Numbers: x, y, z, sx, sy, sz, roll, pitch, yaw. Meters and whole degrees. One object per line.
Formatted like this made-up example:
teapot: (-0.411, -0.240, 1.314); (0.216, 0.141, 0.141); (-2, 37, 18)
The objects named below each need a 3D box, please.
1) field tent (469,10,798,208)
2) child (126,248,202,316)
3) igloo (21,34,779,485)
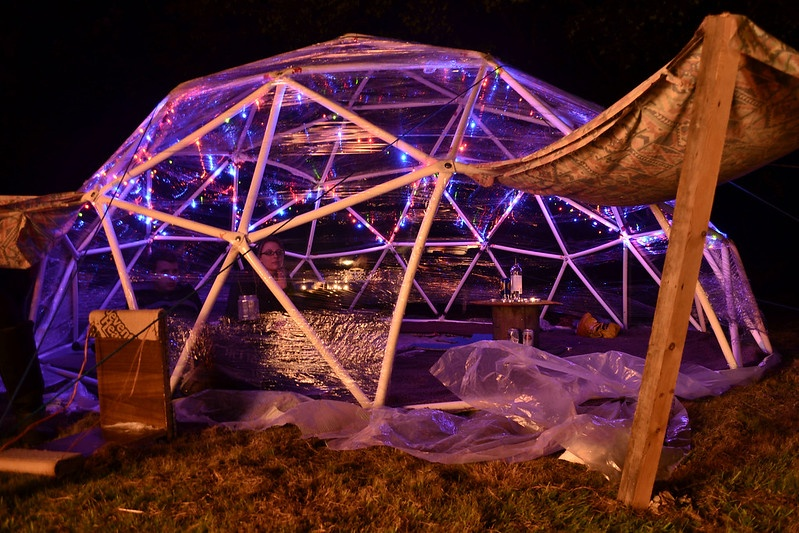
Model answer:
field tent: (3.173, -1.560, 7.681); (2.196, 0.710, 2.932); (1, -20, -26)
child: (-4.084, 0.296, 10.686); (1.192, 0.994, 0.641); (0, -3, -39)
igloo: (0.488, -0.647, 16.245); (16.680, 6.366, 14.389); (5, 2, 14)
